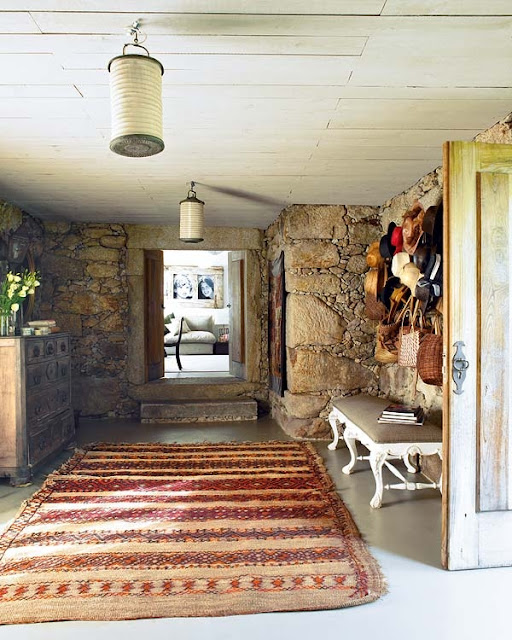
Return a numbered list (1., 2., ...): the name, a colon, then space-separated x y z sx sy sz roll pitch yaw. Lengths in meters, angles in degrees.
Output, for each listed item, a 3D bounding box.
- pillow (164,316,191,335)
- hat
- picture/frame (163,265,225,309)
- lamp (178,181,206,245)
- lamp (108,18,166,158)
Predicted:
1. pillow: -1.516 0.128 10.265 0.349 0.094 0.335 2 31 -13
2. hat: 1.036 -0.379 3.639 0.361 0.681 0.568 10 -11 -21
3. picture/frame: -1.346 -0.663 11.280 1.122 0.690 0.045 0 -1 -13
4. lamp: -0.478 -0.791 4.122 0.156 0.438 0.418 0 2 -4
5. lamp: -0.453 -0.797 2.077 0.194 0.316 0.229 0 2 -11
